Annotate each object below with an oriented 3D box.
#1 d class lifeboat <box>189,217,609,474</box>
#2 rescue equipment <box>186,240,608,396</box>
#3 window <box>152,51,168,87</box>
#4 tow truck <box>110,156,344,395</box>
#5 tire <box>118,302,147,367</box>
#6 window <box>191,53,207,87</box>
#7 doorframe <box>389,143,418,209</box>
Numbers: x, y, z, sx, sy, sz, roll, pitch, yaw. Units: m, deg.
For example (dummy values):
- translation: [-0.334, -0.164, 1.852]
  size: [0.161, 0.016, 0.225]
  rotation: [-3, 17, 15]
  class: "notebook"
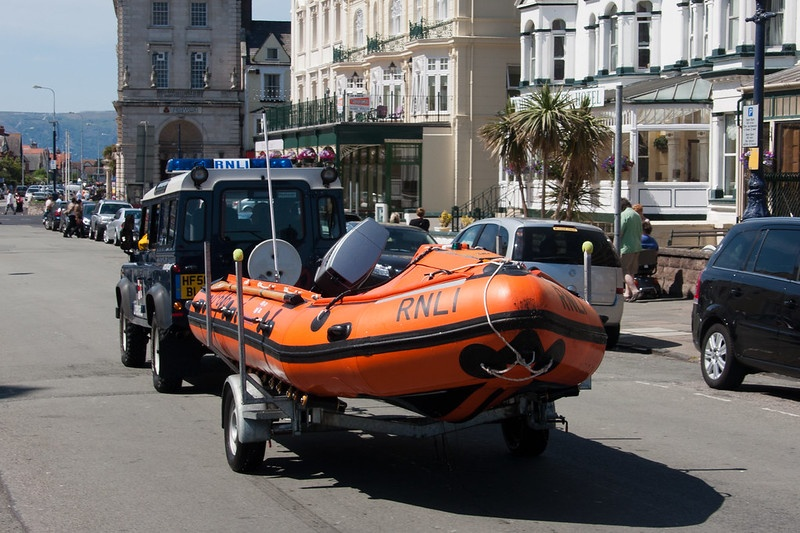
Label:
- translation: [1.337, 0.780, 11.721]
  size: [2.975, 2.673, 6.424]
  rotation: [-1, 3, -19]
  class: "d class lifeboat"
- translation: [0.071, 0.923, 12.485]
  size: [3.161, 1.604, 5.712]
  rotation: [-2, -3, -28]
  class: "rescue equipment"
- translation: [-20.977, -17.068, 86.606]
  size: [1.393, 3.007, 0.545]
  rotation: [-2, 7, -22]
  class: "window"
- translation: [-3.016, -0.188, 16.399]
  size: [2.439, 2.738, 4.289]
  rotation: [-3, 5, -21]
  class: "tow truck"
- translation: [-4.434, 1.120, 16.434]
  size: [0.324, 1.070, 1.043]
  rotation: [2, 5, -13]
  class: "tire"
- translation: [-17.848, -17.318, 87.632]
  size: [1.394, 3.366, 0.188]
  rotation: [-5, 33, -18]
  class: "window"
- translation: [0.155, -4.272, 48.072]
  size: [1.671, 3.607, 0.220]
  rotation: [-1, 25, -5]
  class: "doorframe"
